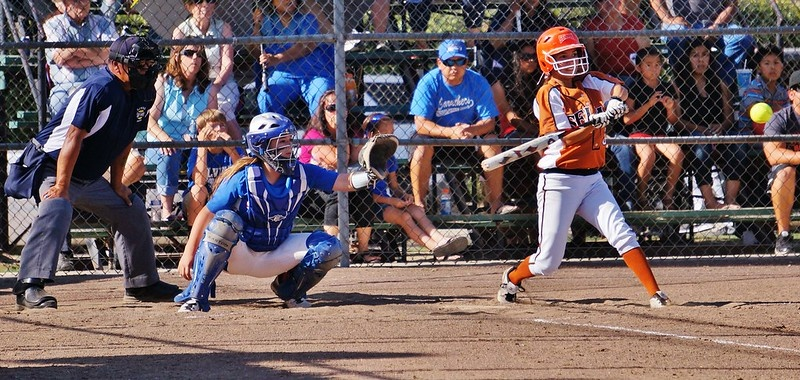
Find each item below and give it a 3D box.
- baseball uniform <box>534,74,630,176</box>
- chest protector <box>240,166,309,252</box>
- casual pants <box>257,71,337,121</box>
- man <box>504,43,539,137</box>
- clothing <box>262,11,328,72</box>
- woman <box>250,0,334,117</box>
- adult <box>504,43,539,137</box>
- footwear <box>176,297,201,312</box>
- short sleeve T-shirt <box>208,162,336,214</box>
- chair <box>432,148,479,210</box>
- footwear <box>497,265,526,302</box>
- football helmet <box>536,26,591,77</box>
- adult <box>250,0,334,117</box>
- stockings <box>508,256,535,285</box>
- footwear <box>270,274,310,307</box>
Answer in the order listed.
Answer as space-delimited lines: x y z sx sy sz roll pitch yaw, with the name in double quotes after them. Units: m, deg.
2.258 -0.834 12.337 1.545 1.290 0.912 4 -9 -40 "baseball uniform"
-1.588 0.223 12.234 0.850 1.011 0.603 16 15 -43 "chest protector"
-1.437 -1.377 14.038 0.951 0.805 0.309 2 7 -1 "casual pants"
1.783 -1.475 14.361 0.804 1.154 0.266 0 3 -14 "man"
-1.501 -2.164 14.111 0.940 0.773 0.504 -5 7 -5 "clothing"
-1.530 -1.941 14.254 1.135 1.675 0.494 1 4 -5 "woman"
1.783 -1.525 14.322 0.804 1.154 0.266 0 3 -14 "adult"
-2.570 1.435 12.074 0.259 0.091 0.135 0 0 -10 "footwear"
-1.578 -0.026 12.197 1.103 0.378 0.805 16 41 26 "short sleeve T-shirt"
0.773 -0.213 14.496 0.960 0.790 0.882 1 15 2 "chair"
1.401 1.210 12.485 0.234 0.529 0.247 10 9 -39 "footwear"
2.001 -1.746 12.342 0.544 0.522 0.709 -8 9 -32 "football helmet"
-1.530 -1.941 14.254 1.135 1.675 0.494 1 4 -5 "adult"
1.562 1.051 12.633 0.153 0.470 0.200 52 -6 26 "stockings"
-1.368 1.321 12.410 0.371 0.447 0.172 1 -16 0 "footwear"
